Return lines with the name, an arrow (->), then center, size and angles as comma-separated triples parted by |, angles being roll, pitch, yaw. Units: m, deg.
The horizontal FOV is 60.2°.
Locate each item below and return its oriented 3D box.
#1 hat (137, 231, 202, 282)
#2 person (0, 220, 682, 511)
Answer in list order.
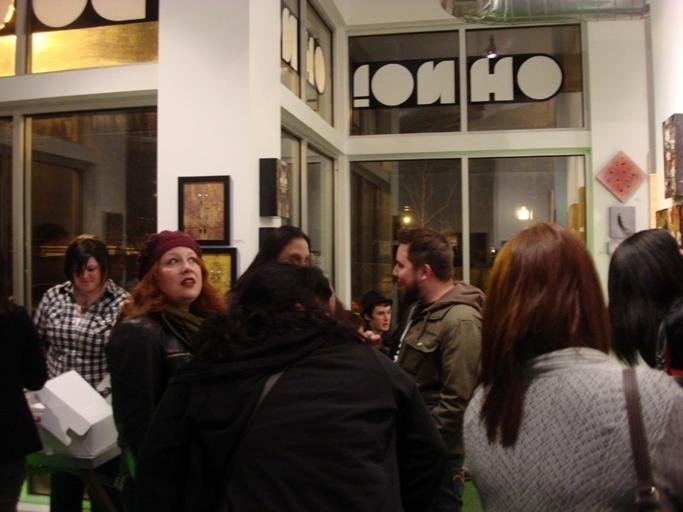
hat -> -0.821, -0.007, 2.795 | 0.280, 0.224, 0.144 | 0, -1, -20
person -> -0.131, 0.597, 2.971 | 3.111, 1.533, 0.927 | -1, -1, 12
